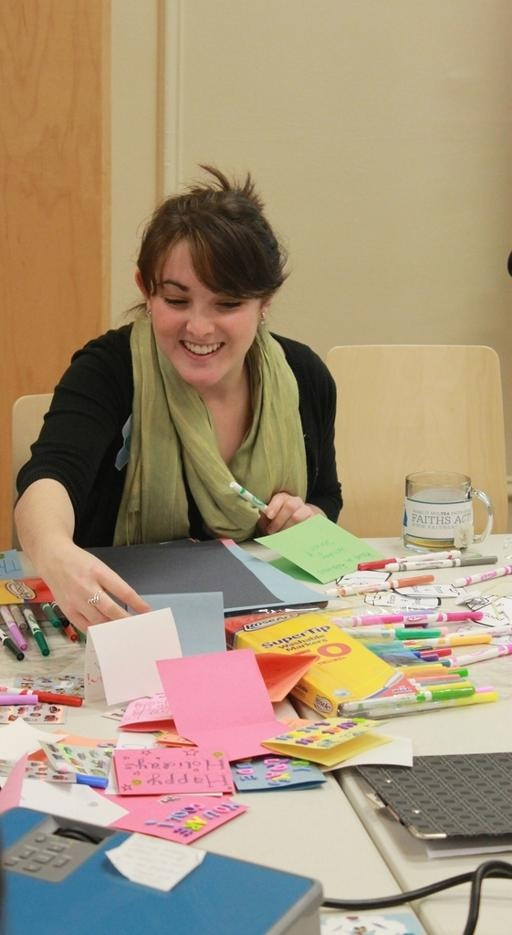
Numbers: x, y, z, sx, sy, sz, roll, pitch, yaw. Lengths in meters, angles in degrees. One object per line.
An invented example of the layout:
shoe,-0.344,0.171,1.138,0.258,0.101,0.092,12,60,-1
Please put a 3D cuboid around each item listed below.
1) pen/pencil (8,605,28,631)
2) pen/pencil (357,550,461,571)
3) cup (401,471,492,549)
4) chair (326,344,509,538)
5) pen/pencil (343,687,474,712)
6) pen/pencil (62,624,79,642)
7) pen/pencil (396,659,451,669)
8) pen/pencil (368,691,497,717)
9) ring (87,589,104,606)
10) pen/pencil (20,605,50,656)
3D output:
pen/pencil,-0.259,0.163,0.793,0.012,0.013,0.051,-1,18,-12
pen/pencil,0.211,0.128,0.999,0.113,0.021,0.013,-4,24,-26
cup,0.288,0.065,1.113,0.134,0.105,0.088,-2,4,-27
chair,0.381,-0.038,1.683,0.335,0.370,0.428,-2,-5,15
pen/pencil,0.121,0.190,0.598,0.073,0.009,0.008,-6,37,-18
pen/pencil,-0.193,0.175,0.767,0.007,0.028,0.027,-9,-13,-13
pen/pencil,0.156,0.184,0.682,0.026,0.005,0.006,-3,13,-7
pen/pencil,0.141,0.195,0.600,0.079,0.009,0.009,-5,26,-18
ring,-0.147,0.121,0.672,0.012,0.014,0.007,6,42,29
pen/pencil,-0.228,0.170,0.760,0.018,0.020,0.135,14,13,-20
